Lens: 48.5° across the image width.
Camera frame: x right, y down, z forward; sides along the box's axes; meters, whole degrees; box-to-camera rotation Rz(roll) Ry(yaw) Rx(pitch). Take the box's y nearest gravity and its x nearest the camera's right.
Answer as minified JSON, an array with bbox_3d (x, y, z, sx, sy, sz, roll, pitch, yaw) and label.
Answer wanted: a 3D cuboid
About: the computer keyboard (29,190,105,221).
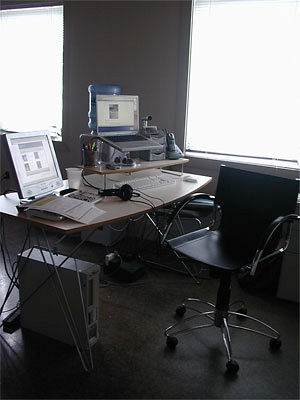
[{"bbox_3d":[-0.444,0.017,1.656,0.411,0.169,0.042,2,-11,20],"label":"computer keyboard"}]

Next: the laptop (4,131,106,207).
[{"bbox_3d":[-0.509,-0.146,1.636,0.437,0.320,0.280,19,23,12],"label":"laptop"}]

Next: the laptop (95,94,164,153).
[{"bbox_3d":[-0.148,-0.544,2.302,0.380,0.346,0.301,-15,23,-43],"label":"laptop"}]

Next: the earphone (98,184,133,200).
[{"bbox_3d":[-0.183,-0.041,1.775,0.129,0.064,0.098,3,16,4],"label":"earphone"}]

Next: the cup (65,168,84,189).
[{"bbox_3d":[-0.452,-0.130,2.028,0.111,0.117,0.109,4,22,-2],"label":"cup"}]

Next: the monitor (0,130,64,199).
[{"bbox_3d":[-0.551,-0.170,1.601,0.127,0.321,0.359,5,12,9],"label":"monitor"}]

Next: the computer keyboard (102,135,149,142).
[{"bbox_3d":[-0.164,-0.435,2.345,0.137,0.047,0.376,11,14,33],"label":"computer keyboard"}]

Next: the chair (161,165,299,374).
[{"bbox_3d":[0.465,0.428,1.900,0.676,0.993,0.708,-16,27,-35],"label":"chair"}]

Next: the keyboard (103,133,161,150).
[{"bbox_3d":[-0.126,-0.411,2.320,0.270,0.042,0.185,-16,36,-42],"label":"keyboard"}]

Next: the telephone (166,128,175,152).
[{"bbox_3d":[0.165,-0.466,2.689,0.069,0.146,0.143,3,12,-3],"label":"telephone"}]

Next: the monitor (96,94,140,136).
[{"bbox_3d":[-0.232,-0.608,2.399,0.377,0.272,0.033,8,14,30],"label":"monitor"}]
